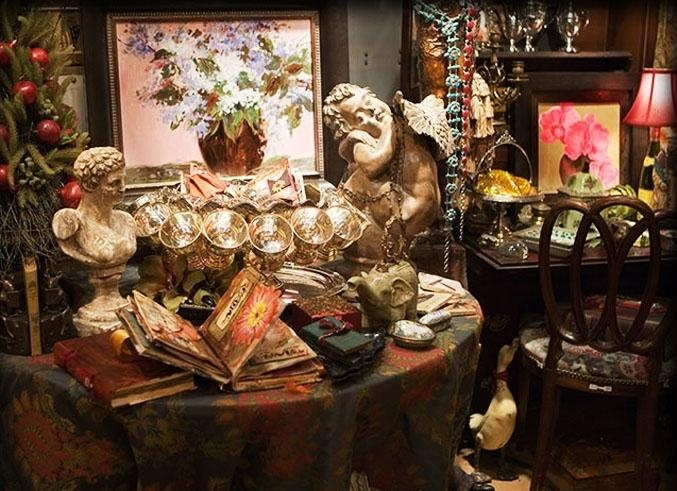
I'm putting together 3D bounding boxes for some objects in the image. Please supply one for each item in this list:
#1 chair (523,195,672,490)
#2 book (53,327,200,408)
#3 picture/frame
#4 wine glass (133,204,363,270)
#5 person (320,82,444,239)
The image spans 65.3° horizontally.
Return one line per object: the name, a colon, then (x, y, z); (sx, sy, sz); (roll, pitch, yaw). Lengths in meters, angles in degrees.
chair: (1.269, 0.502, 2.612); (0.666, 1.595, 0.824); (7, 16, 35)
book: (-0.703, 0.376, 1.665); (0.284, 0.075, 0.302); (-6, 22, -41)
picture/frame: (-0.658, -0.753, 2.602); (0.915, 0.727, 0.046); (-3, 9, -12)
wine glass: (-0.322, -0.039, 1.921); (0.879, 0.240, 0.261); (-3, 13, -3)
person: (0.248, -0.379, 2.541); (0.581, 0.730, 0.645); (5, 9, 23)
